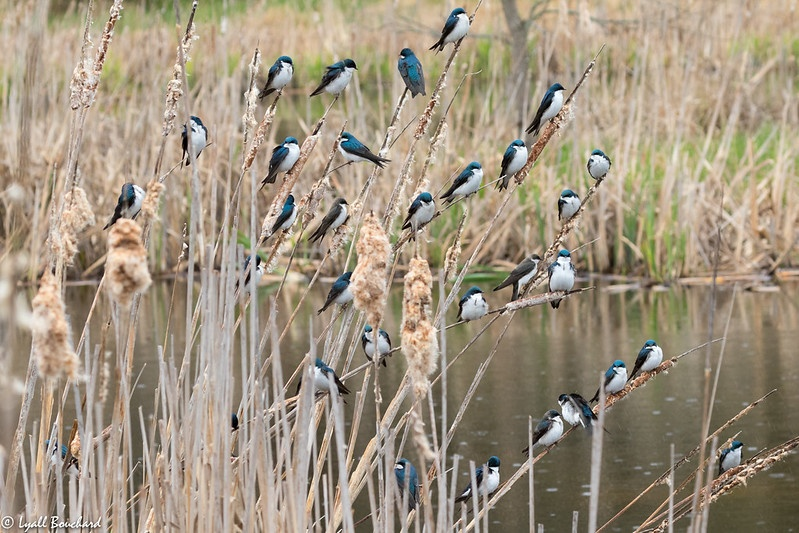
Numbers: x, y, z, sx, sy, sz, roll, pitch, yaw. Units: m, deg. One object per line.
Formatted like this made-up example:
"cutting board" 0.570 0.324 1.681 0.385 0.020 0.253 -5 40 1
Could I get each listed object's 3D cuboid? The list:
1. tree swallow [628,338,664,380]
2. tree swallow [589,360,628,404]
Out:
"tree swallow" 2.251 0.869 12.469 0.179 0.287 0.547 -15 -5 -34
"tree swallow" 1.897 0.989 12.125 0.206 0.301 0.426 -9 2 -27
